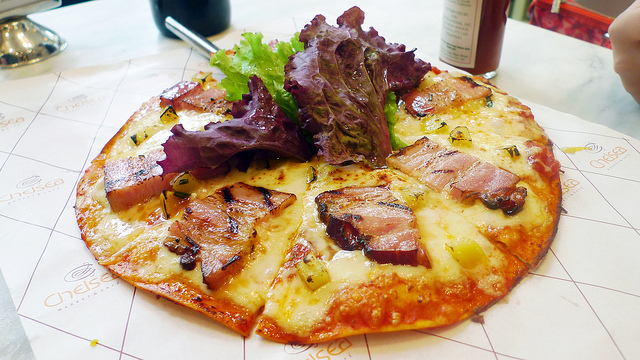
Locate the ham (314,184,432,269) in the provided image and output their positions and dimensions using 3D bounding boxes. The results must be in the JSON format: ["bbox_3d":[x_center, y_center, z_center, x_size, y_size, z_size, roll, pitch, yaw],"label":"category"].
[{"bbox_3d":[0.282,0.272,2.639,0.511,0.142,0.550,-12,55,-4],"label":"ham"}]

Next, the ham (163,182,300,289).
[{"bbox_3d":[-0.534,0.258,2.731,0.475,0.130,0.690,28,62,21],"label":"ham"}]

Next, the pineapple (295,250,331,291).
[{"bbox_3d":[-0.047,0.483,2.550,0.126,0.083,0.199,-28,58,-13],"label":"pineapple"}]

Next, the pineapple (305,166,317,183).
[{"bbox_3d":[-0.066,-0.031,2.855,0.065,0.025,0.089,-2,57,6],"label":"pineapple"}]

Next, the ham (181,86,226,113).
[{"bbox_3d":[-0.818,-0.571,3.343,0.233,0.058,0.225,-33,44,-28],"label":"ham"}]

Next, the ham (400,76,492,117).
[{"bbox_3d":[0.850,-0.565,3.192,0.499,0.062,0.280,-19,38,-11],"label":"ham"}]

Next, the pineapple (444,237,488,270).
[{"bbox_3d":[0.797,0.399,2.668,0.204,0.175,0.164,-2,92,-22],"label":"pineapple"}]

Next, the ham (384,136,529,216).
[{"bbox_3d":[0.805,-0.020,2.819,0.815,0.105,0.301,27,62,21],"label":"ham"}]

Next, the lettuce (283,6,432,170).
[{"bbox_3d":[0.222,-0.565,3.079,0.717,0.505,1.087,5,93,30],"label":"lettuce"}]
